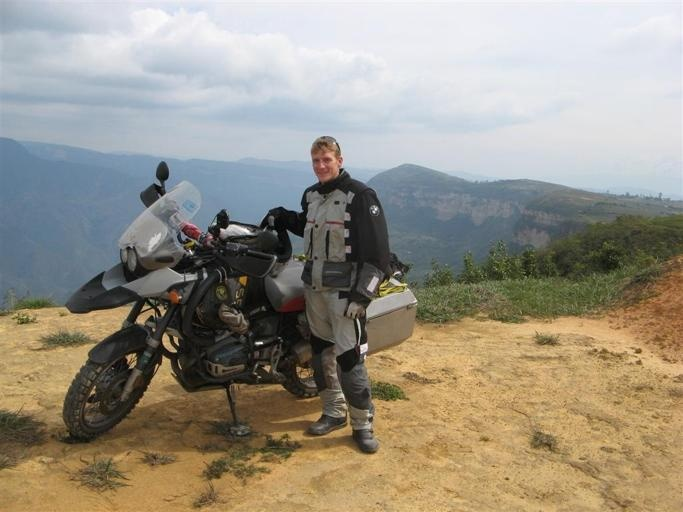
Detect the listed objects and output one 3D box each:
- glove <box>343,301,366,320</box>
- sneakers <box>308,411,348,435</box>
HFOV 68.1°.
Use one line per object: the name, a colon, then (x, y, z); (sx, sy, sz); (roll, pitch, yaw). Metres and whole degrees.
glove: (0.170, 0.621, 5.831); (0.202, 0.213, 0.174); (-37, -12, 29)
sneakers: (-0.182, 2.092, 6.377); (0.486, 0.170, 0.182); (-5, -4, -32)
